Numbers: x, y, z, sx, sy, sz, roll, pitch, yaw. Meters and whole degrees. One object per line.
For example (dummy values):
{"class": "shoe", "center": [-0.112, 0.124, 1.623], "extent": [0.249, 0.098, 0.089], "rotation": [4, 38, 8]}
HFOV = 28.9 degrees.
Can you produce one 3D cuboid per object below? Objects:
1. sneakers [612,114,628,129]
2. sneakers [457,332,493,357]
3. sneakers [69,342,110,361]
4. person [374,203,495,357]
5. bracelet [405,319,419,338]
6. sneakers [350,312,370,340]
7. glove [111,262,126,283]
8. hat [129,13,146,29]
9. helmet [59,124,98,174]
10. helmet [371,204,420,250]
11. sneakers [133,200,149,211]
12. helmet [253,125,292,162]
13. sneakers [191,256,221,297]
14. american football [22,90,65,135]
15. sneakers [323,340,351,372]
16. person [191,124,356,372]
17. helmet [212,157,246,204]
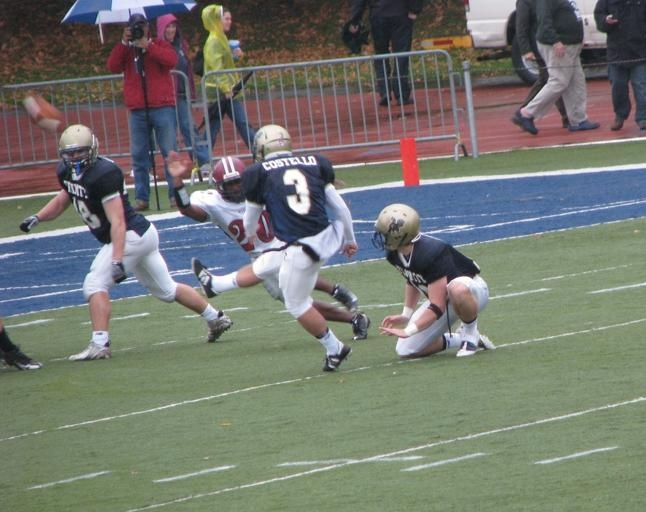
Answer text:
{"class": "sneakers", "center": [4.412, -1.978, 18.536], "extent": [0.112, 0.154, 0.341], "rotation": [0, 26, 41]}
{"class": "sneakers", "center": [1.150, 0.659, 9.066], "extent": [0.347, 0.140, 0.112], "rotation": [-12, -12, -41]}
{"class": "sneakers", "center": [-1.764, 0.741, 9.622], "extent": [0.357, 0.142, 0.121], "rotation": [-1, 3, -10]}
{"class": "person", "center": [0.773, 0.202, 9.048], "extent": [1.006, 1.089, 0.872], "rotation": [-6, -1, -7]}
{"class": "bracelet", "center": [0.607, 0.509, 8.701], "extent": [0.041, 0.076, 0.104], "rotation": [27, -38, -27]}
{"class": "sneakers", "center": [0.289, 0.545, 9.874], "extent": [0.123, 0.261, 0.089], "rotation": [-3, 24, 2]}
{"class": "glove", "center": [-1.561, 0.135, 9.639], "extent": [0.113, 0.143, 0.151], "rotation": [-23, -7, -10]}
{"class": "hat", "center": [-2.141, -2.666, 14.373], "extent": [0.207, 0.191, 0.079], "rotation": [0, 6, -29]}
{"class": "helmet", "center": [-1.909, -0.840, 9.797], "extent": [0.291, 0.350, 0.384], "rotation": [-6, 19, 10]}
{"class": "helmet", "center": [0.541, -0.209, 8.982], "extent": [0.381, 0.307, 0.276], "rotation": [-3, 17, 16]}
{"class": "sneakers", "center": [-2.225, -0.599, 15.394], "extent": [0.219, 0.140, 0.084], "rotation": [14, -17, -41]}
{"class": "helmet", "center": [-0.375, -0.828, 9.291], "extent": [0.268, 0.291, 0.334], "rotation": [-10, 6, -19]}
{"class": "sneakers", "center": [-0.953, 0.181, 10.174], "extent": [0.166, 0.382, 0.133], "rotation": [-21, 8, 8]}
{"class": "american football", "center": [-2.724, -1.391, 12.118], "extent": [0.157, 0.389, 0.410], "rotation": [-43, -5, 12]}
{"class": "sneakers", "center": [0.090, 0.716, 8.880], "extent": [0.196, 0.192, 0.183], "rotation": [-10, 14, -19]}
{"class": "person", "center": [-0.121, -0.039, 9.035], "extent": [0.688, 1.710, 0.903], "rotation": [-11, 15, -21]}
{"class": "helmet", "center": [-0.758, -0.652, 10.436], "extent": [0.317, 0.337, 0.413], "rotation": [-16, 18, -1]}
